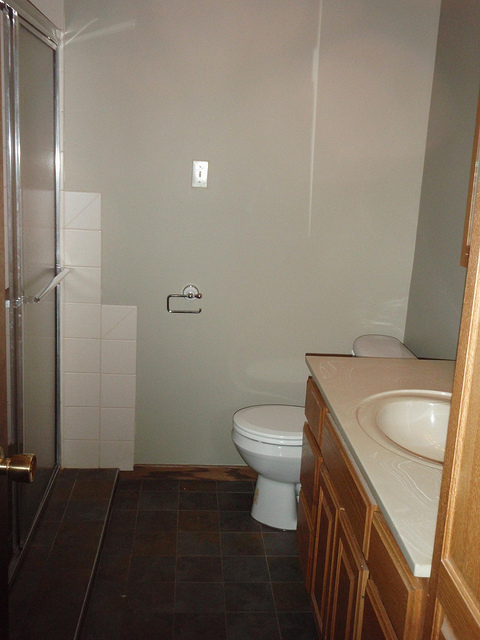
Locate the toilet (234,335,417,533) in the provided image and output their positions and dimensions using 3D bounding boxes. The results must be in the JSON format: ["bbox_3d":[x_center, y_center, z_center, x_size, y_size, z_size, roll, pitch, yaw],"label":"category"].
[{"bbox_3d":[0.419,0.431,2.502,0.872,1.243,0.576,3,9,-1],"label":"toilet"}]
